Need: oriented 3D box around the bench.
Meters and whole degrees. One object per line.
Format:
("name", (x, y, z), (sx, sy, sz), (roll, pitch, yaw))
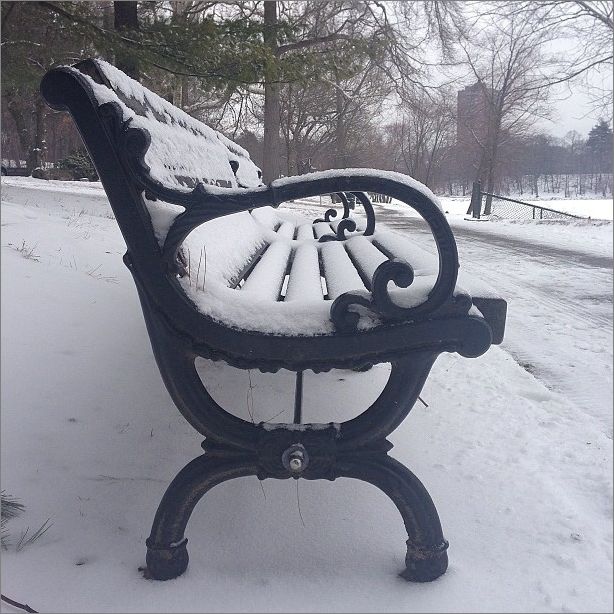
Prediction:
("bench", (-0.086, -0.077, 2.260), (1.151, 1.366, 1.358), (2, 13, -1))
